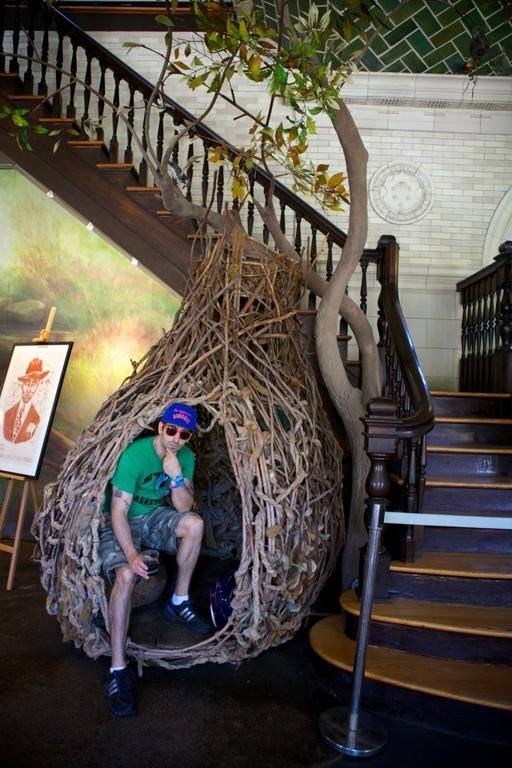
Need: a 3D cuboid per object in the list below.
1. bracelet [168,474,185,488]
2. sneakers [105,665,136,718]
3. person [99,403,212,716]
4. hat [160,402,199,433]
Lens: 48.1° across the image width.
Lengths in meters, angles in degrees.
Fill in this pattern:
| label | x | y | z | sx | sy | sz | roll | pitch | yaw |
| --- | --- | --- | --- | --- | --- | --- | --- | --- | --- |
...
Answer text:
| label | x | y | z | sx | sy | sz | roll | pitch | yaw |
| --- | --- | --- | --- | --- | --- | --- | --- | --- | --- |
| bracelet | -0.301 | 0.367 | 2.174 | 0.053 | 0.041 | 0.053 | 5 | 3 | -13 |
| sneakers | -0.420 | 0.970 | 1.799 | 0.056 | 0.064 | 0.161 | 4 | -6 | -14 |
| person | -0.383 | 0.553 | 2.023 | 0.440 | 0.730 | 0.881 | 4 | 19 | -2 |
| hat | -0.284 | 0.118 | 2.080 | 0.093 | 0.057 | 0.115 | 24 | -7 | -16 |
